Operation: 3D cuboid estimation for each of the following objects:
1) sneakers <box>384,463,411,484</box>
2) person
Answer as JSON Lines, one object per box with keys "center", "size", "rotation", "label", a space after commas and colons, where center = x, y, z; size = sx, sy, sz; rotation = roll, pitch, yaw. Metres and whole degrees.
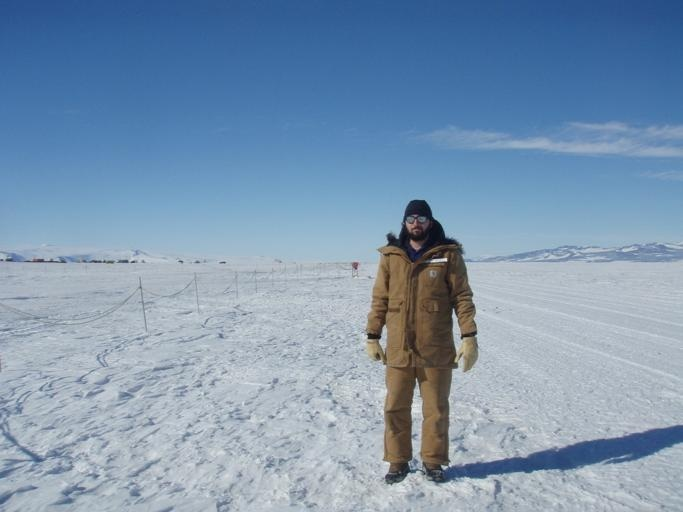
{"center": [0.655, 2.490, 5.494], "size": [0.156, 0.133, 0.370], "rotation": [-10, -19, 32], "label": "sneakers"}
{"center": [0.932, 0.980, 5.520], "size": [1.256, 3.222, 1.021], "rotation": [2, 14, 12], "label": "person"}
